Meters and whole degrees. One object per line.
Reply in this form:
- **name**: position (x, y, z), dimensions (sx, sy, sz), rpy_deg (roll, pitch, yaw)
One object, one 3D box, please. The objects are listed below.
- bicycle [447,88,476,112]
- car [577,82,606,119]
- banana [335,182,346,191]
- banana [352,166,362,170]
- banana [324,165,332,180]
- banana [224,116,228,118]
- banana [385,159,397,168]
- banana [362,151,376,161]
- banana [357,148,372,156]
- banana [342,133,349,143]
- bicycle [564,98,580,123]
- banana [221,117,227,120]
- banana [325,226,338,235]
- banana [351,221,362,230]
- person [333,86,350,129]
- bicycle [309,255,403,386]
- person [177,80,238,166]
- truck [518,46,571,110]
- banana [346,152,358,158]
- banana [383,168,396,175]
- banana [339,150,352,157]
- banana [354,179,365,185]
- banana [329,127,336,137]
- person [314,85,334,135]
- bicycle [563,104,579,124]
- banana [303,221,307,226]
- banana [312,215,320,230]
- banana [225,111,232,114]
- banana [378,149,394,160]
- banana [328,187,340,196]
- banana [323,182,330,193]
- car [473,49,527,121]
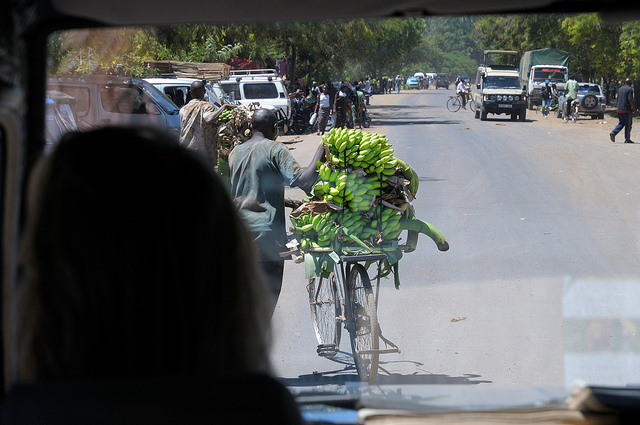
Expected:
- **bicycle**: position (8.203, -6.266, 33.312), dimensions (1.849, 1.241, 0.954), rpy_deg (-15, 24, -19)
- **car**: position (11.503, -4.687, 25.506), dimensions (1.033, 1.022, 2.049), rpy_deg (1, 29, 7)
- **banana**: position (0.127, -0.162, 3.688), dimensions (0.071, 0.040, 0.024), rpy_deg (-23, 4, 43)
- **banana**: position (0.226, -0.276, 3.668), dimensions (0.050, 0.021, 0.017), rpy_deg (0, 13, 2)
- **banana**: position (0.047, -0.245, 3.706), dimensions (0.018, 0.074, 0.045), rpy_deg (-4, 30, -26)
- **banana**: position (-0.960, -0.979, 6.091), dimensions (0.029, 0.008, 0.032), rpy_deg (8, 33, -27)
- **banana**: position (0.436, -0.299, 3.665), dimensions (0.085, 0.030, 0.058), rpy_deg (-30, -13, 2)
- **banana**: position (0.300, -0.342, 3.638), dimensions (0.103, 0.029, 0.034), rpy_deg (-48, 0, 18)
- **banana**: position (0.275, -0.369, 3.624), dimensions (0.026, 0.034, 0.097), rpy_deg (8, -17, -26)
- **banana**: position (0.160, -0.451, 3.643), dimensions (0.014, 0.069, 0.018), rpy_deg (10, 2, -6)
- **bicycle**: position (10.351, -4.167, 24.262), dimensions (0.486, 0.649, 1.003), rpy_deg (3, 13, 4)
- **banana**: position (-0.976, -0.958, 6.075), dimensions (0.020, 0.021, 0.120), rpy_deg (-8, 16, -30)
- **banana**: position (0.073, 0.110, 3.770), dimensions (0.049, 0.013, 0.019), rpy_deg (-41, 22, 1)
- **banana**: position (0.232, 0.078, 3.768), dimensions (0.060, 0.047, 0.020), rpy_deg (-5, 13, -18)
- **person**: position (0.786, -3.796, 21.283), dimensions (0.535, 1.439, 1.027), rpy_deg (0, 13, 3)
- **bicycle**: position (0.225, 0.706, 4.294), dimensions (0.420, 0.925, 1.230), rpy_deg (-4, 14, -16)
- **person**: position (-1.358, -0.876, 6.736), dimensions (0.519, 1.247, 0.414), rpy_deg (7, 33, 1)
- **truck**: position (12.150, -7.625, 32.431), dimensions (1.971, 2.954, 4.715), rpy_deg (4, 26, 10)
- **banana**: position (0.197, -0.352, 3.645), dimensions (0.062, 0.020, 0.019), rpy_deg (-29, 8, 36)
- **banana**: position (0.427, -0.255, 3.680), dimensions (0.073, 0.043, 0.025), rpy_deg (1, 13, 5)
- **banana**: position (0.153, -0.362, 3.687), dimensions (0.095, 0.028, 0.034), rpy_deg (-17, 5, 2)
- **banana**: position (0.246, -0.191, 3.701), dimensions (0.057, 0.033, 0.009), rpy_deg (-5, 13, -19)
- **banana**: position (0.078, -0.506, 3.729), dimensions (0.033, 0.048, 0.011), rpy_deg (-9, 23, -34)
- **person**: position (0.108, -3.545, 20.705), dimensions (0.725, 1.795, 0.501), rpy_deg (2, -13, 4)
- **bicycle**: position (10.224, -4.127, 24.277), dimensions (0.396, 0.865, 0.508), rpy_deg (-4, -23, 5)
- **banana**: position (-0.098, 0.067, 3.833), dimensions (0.024, 0.026, 0.006), rpy_deg (3, 11, 12)
- **banana**: position (-0.028, 0.058, 3.757), dimensions (0.032, 0.103, 0.027), rpy_deg (-2, 28, -31)
- **banana**: position (-0.945, -1.034, 6.147), dimensions (0.058, 0.061, 0.016), rpy_deg (-5, 5, 6)
- **banana**: position (0.408, -0.365, 3.692), dimensions (0.118, 0.035, 0.045), rpy_deg (-26, 24, 3)
- **banana**: position (0.085, -0.132, 3.693), dimensions (0.044, 0.024, 0.046), rpy_deg (17, 25, 6)
- **banana**: position (0.040, -0.157, 3.732), dimensions (0.044, 0.063, 0.018), rpy_deg (6, 14, 27)
- **car**: position (8.488, -5.969, 28.381), dimensions (1.896, 3.298, 5.760), rpy_deg (1, 11, 10)
